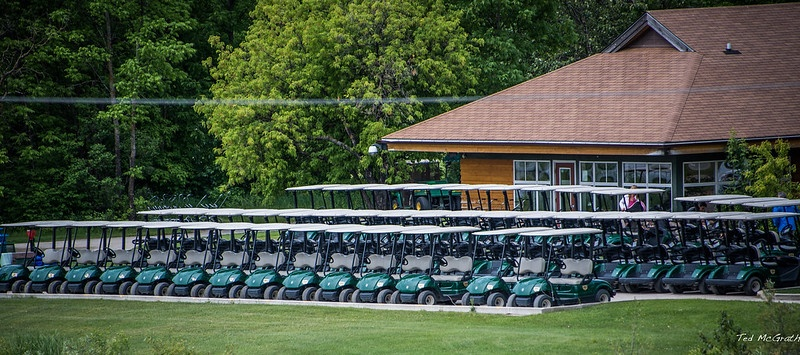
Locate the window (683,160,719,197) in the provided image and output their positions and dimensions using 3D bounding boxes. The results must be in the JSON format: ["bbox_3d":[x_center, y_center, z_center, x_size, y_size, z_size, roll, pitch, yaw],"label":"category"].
[{"bbox_3d":[18.321,0.165,69.387,2.501,2.574,0.103,-1,1,-5],"label":"window"}]

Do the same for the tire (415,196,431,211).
[{"bbox_3d":[1.553,1.762,74.698,0.410,0.759,0.808,-8,-6,-27],"label":"tire"}]

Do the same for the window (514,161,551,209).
[{"bbox_3d":[8.371,0.431,71.361,3.228,3.956,0.171,2,8,20],"label":"window"}]

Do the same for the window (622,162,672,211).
[{"bbox_3d":[15.149,0.597,68.822,3.065,3.133,0.150,4,8,29],"label":"window"}]

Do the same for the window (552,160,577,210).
[{"bbox_3d":[10.378,0.546,71.103,1.444,3.046,4.492,0,-3,8],"label":"window"}]

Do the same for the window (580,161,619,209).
[{"bbox_3d":[12.331,0.328,69.937,3.100,3.395,0.169,4,7,26],"label":"window"}]
